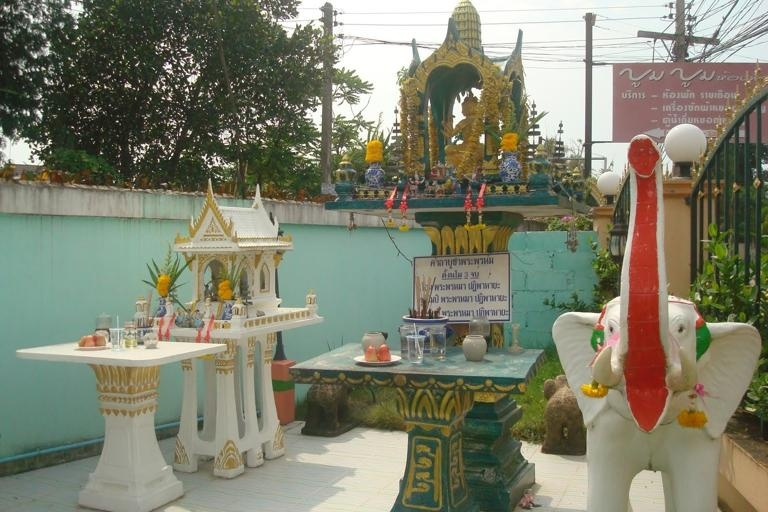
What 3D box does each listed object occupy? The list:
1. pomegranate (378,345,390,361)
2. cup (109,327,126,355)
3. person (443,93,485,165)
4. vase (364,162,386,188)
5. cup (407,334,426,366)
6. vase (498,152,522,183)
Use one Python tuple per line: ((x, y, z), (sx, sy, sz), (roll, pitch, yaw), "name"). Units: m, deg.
((0.016, 1.214, 11.227), (0.157, 0.193, 0.172), (0, -11, 3), "pomegranate")
((-3.526, 1.144, 11.940), (0.251, 0.382, 0.284), (-1, -3, 7), "cup")
((1.087, -1.692, 12.097), (0.470, 1.124, 0.852), (-2, 3, -5), "person")
((-0.123, -1.085, 12.249), (0.287, 0.402, 0.295), (1, -3, -24), "vase")
((0.398, 1.180, 11.339), (0.299, 0.392, 0.289), (0, -9, 0), "cup")
((1.627, -1.132, 11.797), (0.335, 0.539, 0.337), (1, -5, 0), "vase")
